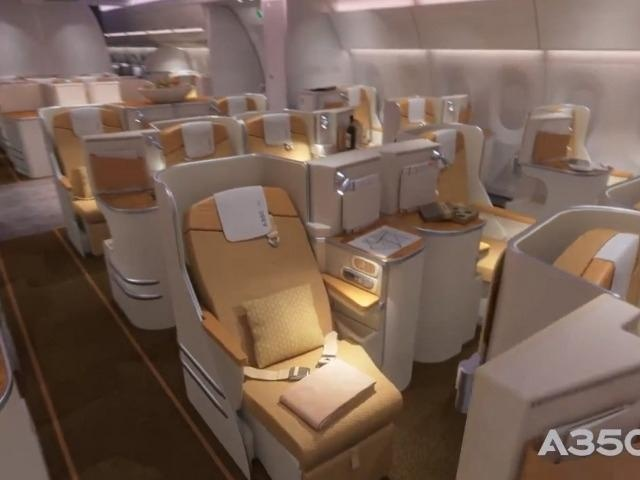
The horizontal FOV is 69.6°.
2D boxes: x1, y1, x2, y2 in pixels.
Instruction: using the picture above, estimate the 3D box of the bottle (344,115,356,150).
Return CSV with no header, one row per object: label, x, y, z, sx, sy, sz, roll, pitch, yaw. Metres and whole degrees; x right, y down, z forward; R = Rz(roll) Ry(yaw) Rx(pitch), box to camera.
bottle,0.328,-1.126,4.810,0.100,0.301,0.203,2,4,-10
